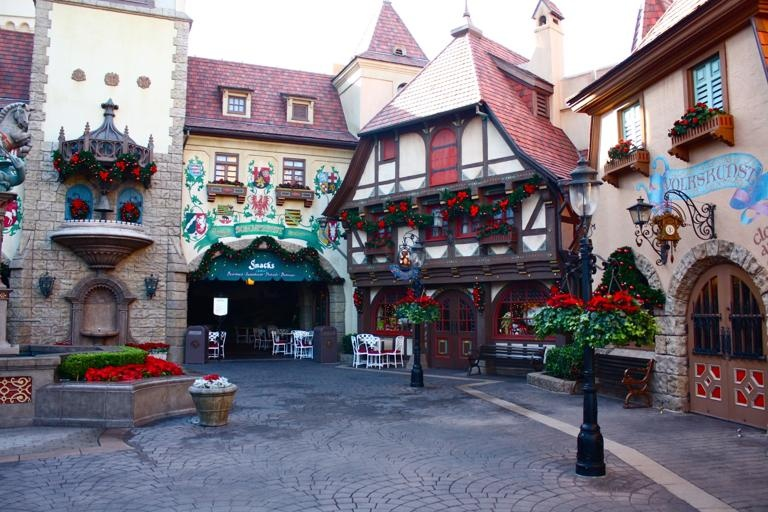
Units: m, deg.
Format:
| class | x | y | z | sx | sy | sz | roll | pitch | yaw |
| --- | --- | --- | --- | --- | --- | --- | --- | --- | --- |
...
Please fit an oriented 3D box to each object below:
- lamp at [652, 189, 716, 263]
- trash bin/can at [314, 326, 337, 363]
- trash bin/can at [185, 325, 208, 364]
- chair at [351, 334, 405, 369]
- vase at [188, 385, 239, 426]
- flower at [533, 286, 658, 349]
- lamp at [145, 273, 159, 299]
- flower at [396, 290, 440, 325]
| class | x | y | z | sx | sy | sz | roll | pitch | yaw |
| --- | --- | --- | --- | --- | --- | --- | --- | --- | --- |
| lamp | 6.963 | -0.695 | 17.804 | 0.738 | 1.783 | 1.824 | -1 | 6 | -16 |
| trash bin/can | -2.221 | 3.371 | 28.991 | 1.157 | 1.677 | 0.892 | 3 | -8 | -25 |
| trash bin/can | -6.902 | 3.180 | 27.542 | 0.798 | 1.340 | 0.459 | -1 | 6 | -12 |
| chair | -0.294 | 3.489 | 27.894 | 1.372 | 0.889 | 1.388 | -1 | -10 | 4 |
| vase | -3.828 | 3.247 | 16.752 | 0.911 | 0.646 | 0.901 | 6 | -10 | -42 |
| flower | 4.266 | 1.211 | 14.555 | 1.514 | 0.933 | 1.505 | 2 | -7 | -27 |
| lamp | -8.415 | 1.049 | 27.318 | 0.554 | 0.887 | 0.282 | -1 | 6 | -17 |
| flower | 0.995 | 1.536 | 22.515 | 1.116 | 0.986 | 1.129 | -3 | -3 | 11 |
